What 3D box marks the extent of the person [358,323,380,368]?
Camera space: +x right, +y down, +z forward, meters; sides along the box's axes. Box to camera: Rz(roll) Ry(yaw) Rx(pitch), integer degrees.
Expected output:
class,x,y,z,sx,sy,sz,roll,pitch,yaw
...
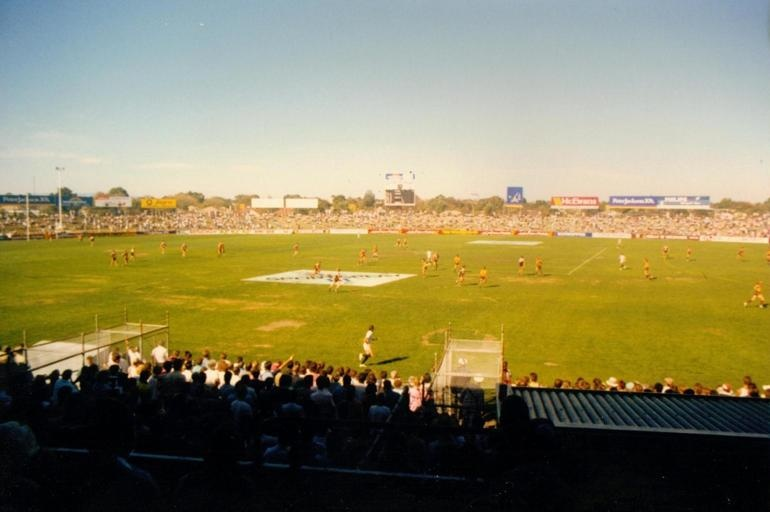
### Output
class,x,y,z,sx,sy,sz,roll,pitch,yaw
person,-0.697,3.580,26.790,0.812,1.580,0.654,-3,-4,-10

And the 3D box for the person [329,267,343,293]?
class,x,y,z,sx,sy,sz,roll,pitch,yaw
person,-3.505,1.699,46.606,0.821,1.514,0.739,-18,32,-31

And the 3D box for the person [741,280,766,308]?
class,x,y,z,sx,sy,sz,roll,pitch,yaw
person,21.379,2.002,38.465,1.209,1.302,4.326,2,6,28
